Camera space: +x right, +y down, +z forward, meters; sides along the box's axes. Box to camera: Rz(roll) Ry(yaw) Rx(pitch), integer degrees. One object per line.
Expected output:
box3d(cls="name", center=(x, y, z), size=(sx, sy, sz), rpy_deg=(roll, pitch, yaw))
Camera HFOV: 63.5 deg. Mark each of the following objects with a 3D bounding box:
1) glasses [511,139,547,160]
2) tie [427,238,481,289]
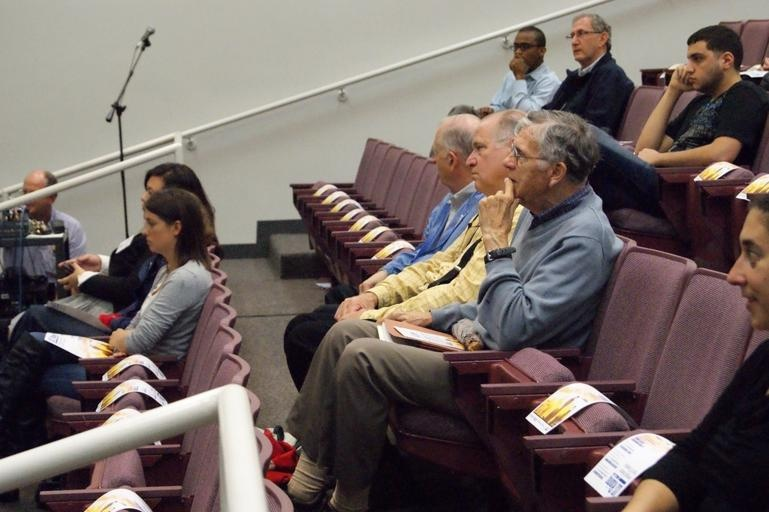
box3d(cls="glasses", center=(0.506, -0.375, 2.211), size=(0.053, 0.095, 0.131), rpy_deg=(-15, 10, -35))
box3d(cls="tie", center=(0.320, 0.035, 2.773), size=(0.262, 0.060, 0.146), rpy_deg=(-52, 5, 2))
